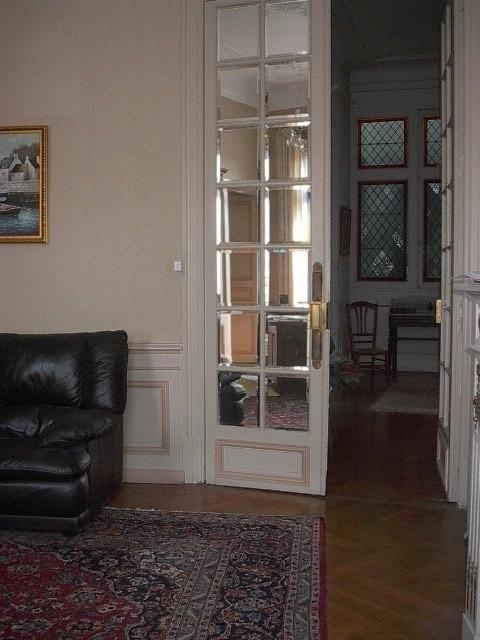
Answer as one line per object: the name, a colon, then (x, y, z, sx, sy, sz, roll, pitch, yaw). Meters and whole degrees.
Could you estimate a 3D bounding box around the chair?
chair: (1.758, 0.251, 7.585, 0.566, 1.050, 1.501, -1, 3, 11)

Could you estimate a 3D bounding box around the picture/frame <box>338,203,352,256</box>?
picture/frame: (1.434, -1.274, 7.549, 0.042, 0.849, 0.817, -1, -3, 21)
